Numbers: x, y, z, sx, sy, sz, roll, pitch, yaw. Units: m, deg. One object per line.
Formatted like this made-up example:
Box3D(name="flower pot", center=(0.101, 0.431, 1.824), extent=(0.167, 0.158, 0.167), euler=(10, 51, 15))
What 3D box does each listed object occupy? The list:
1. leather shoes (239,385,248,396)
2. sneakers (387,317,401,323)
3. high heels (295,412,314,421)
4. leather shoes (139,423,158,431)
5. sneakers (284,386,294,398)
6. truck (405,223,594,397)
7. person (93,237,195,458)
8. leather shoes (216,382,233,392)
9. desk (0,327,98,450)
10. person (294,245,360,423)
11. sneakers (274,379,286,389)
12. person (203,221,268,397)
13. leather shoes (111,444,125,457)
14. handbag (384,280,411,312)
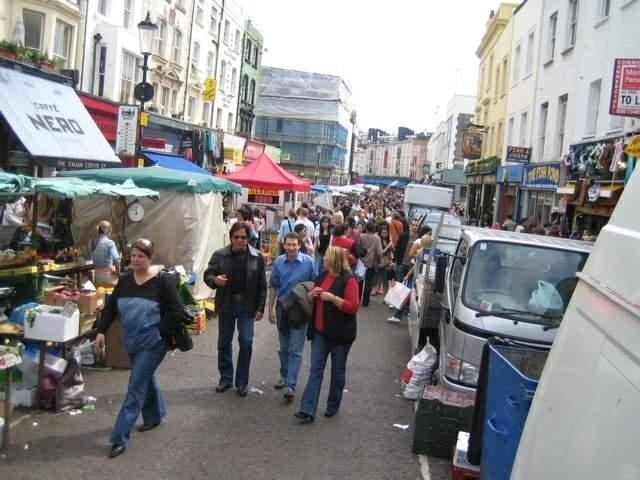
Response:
Box3D(name="leather shoes", center=(-1.109, 2.186, 6.995), extent=(0.148, 0.114, 0.191), euler=(2, 4, -12))
Box3D(name="sneakers", center=(1.820, 1.951, 11.824), extent=(0.323, 0.214, 0.124), euler=(5, 0, 11))
Box3D(name="high heels", center=(-0.186, 2.270, 6.227), extent=(0.126, 0.114, 0.288), euler=(-28, -26, 27))
Box3D(name="leather shoes", center=(-2.030, 2.224, 5.760), extent=(0.213, 0.092, 0.072), euler=(20, -9, -41))
Box3D(name="sneakers", center=(-0.435, 2.199, 6.942), extent=(0.149, 0.198, 0.217), euler=(3, 4, -6))
Box3D(name="truck", center=(2.413, 0.880, 7.119), extent=(1.678, 1.801, 3.115), euler=(8, -1, 1))
Box3D(name="person", center=(-1.972, 1.118, 5.512), extent=(0.912, 2.251, 0.692), euler=(0, 5, -40))
Box3D(name="leather shoes", center=(-1.401, 2.167, 7.108), extent=(0.083, 0.101, 0.238), euler=(1, -9, 20))
Box3D(name="desk", center=(-3.461, 1.694, 5.809), extent=(0.722, 1.204, 0.984), euler=(10, -12, 9))
Box3D(name="person", center=(0.104, 1.229, 6.400), extent=(0.792, 2.294, 0.572), euler=(2, 4, -11))
Box3D(name="sneakers", center=(-0.603, 2.214, 7.399), extent=(0.153, 0.115, 0.079), euler=(13, -10, -38))
Box3D(name="person", center=(-1.225, 0.986, 7.027), extent=(0.860, 2.506, 0.497), euler=(2, 4, -7))
Box3D(name="leather shoes", center=(-2.123, 2.206, 5.080), extent=(0.061, 0.082, 0.175), euler=(7, 12, -5))
Box3D(name="handbag", center=(1.898, 1.359, 11.646), extent=(0.536, 0.782, 0.276), euler=(24, -26, 10))
